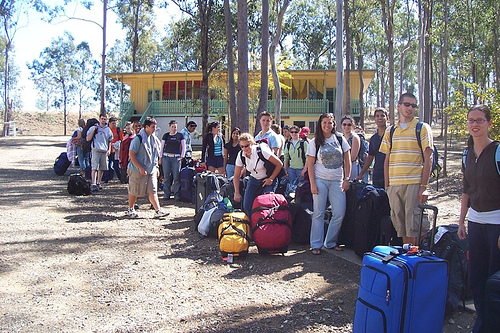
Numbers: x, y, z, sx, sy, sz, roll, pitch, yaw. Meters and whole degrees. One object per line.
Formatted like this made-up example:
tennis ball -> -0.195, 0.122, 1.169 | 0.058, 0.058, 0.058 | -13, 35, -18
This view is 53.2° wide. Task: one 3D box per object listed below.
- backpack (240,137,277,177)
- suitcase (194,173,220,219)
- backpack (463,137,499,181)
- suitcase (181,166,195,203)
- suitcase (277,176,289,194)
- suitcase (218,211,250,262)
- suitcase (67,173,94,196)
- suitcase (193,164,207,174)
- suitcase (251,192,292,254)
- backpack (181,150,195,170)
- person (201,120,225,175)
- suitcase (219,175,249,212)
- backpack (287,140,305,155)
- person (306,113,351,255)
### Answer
backpack -> 0.181, -0.127, 10.675 | 0.737, 0.695, 0.238 | 5, 11, 24
suitcase -> -1.008, 0.720, 11.984 | 0.539, 1.608, 0.872 | -1, 7, -25
backpack -> 3.449, -0.143, 7.482 | 0.433, 0.751, 0.637 | 1, 3, -1
suitcase -> -1.907, 0.562, 15.087 | 0.543, 1.042, 0.185 | 9, 14, 44
suitcase -> 0.839, 0.509, 12.723 | 0.178, 0.329, 0.468 | 3, 11, 16
suitcase -> -0.319, 1.460, 10.259 | 0.687, 1.084, 0.632 | -3, -36, 0
suitcase -> -5.266, 0.514, 15.586 | 0.664, 0.764, 0.505 | -4, 23, -9
suitcase -> -1.485, 0.094, 14.996 | 0.249, 0.381, 0.374 | 1, -4, -7
suitcase -> 0.464, 1.117, 10.280 | 0.815, 1.372, 0.705 | -4, 11, 2
backpack -> -2.087, -0.207, 16.851 | 0.385, 0.588, 0.511 | 5, 3, -10
person -> -1.113, -0.564, 15.028 | 0.651, 1.539, 0.851 | -1, 10, -6
suitcase -> -0.408, 0.639, 11.845 | 0.743, 0.921, 0.598 | 4, 6, 9
backpack -> 1.287, -0.542, 13.790 | 0.587, 0.325, 0.124 | 10, 14, 42
person -> 1.590, 0.371, 10.092 | 0.870, 2.819, 0.509 | 1, 10, 8
